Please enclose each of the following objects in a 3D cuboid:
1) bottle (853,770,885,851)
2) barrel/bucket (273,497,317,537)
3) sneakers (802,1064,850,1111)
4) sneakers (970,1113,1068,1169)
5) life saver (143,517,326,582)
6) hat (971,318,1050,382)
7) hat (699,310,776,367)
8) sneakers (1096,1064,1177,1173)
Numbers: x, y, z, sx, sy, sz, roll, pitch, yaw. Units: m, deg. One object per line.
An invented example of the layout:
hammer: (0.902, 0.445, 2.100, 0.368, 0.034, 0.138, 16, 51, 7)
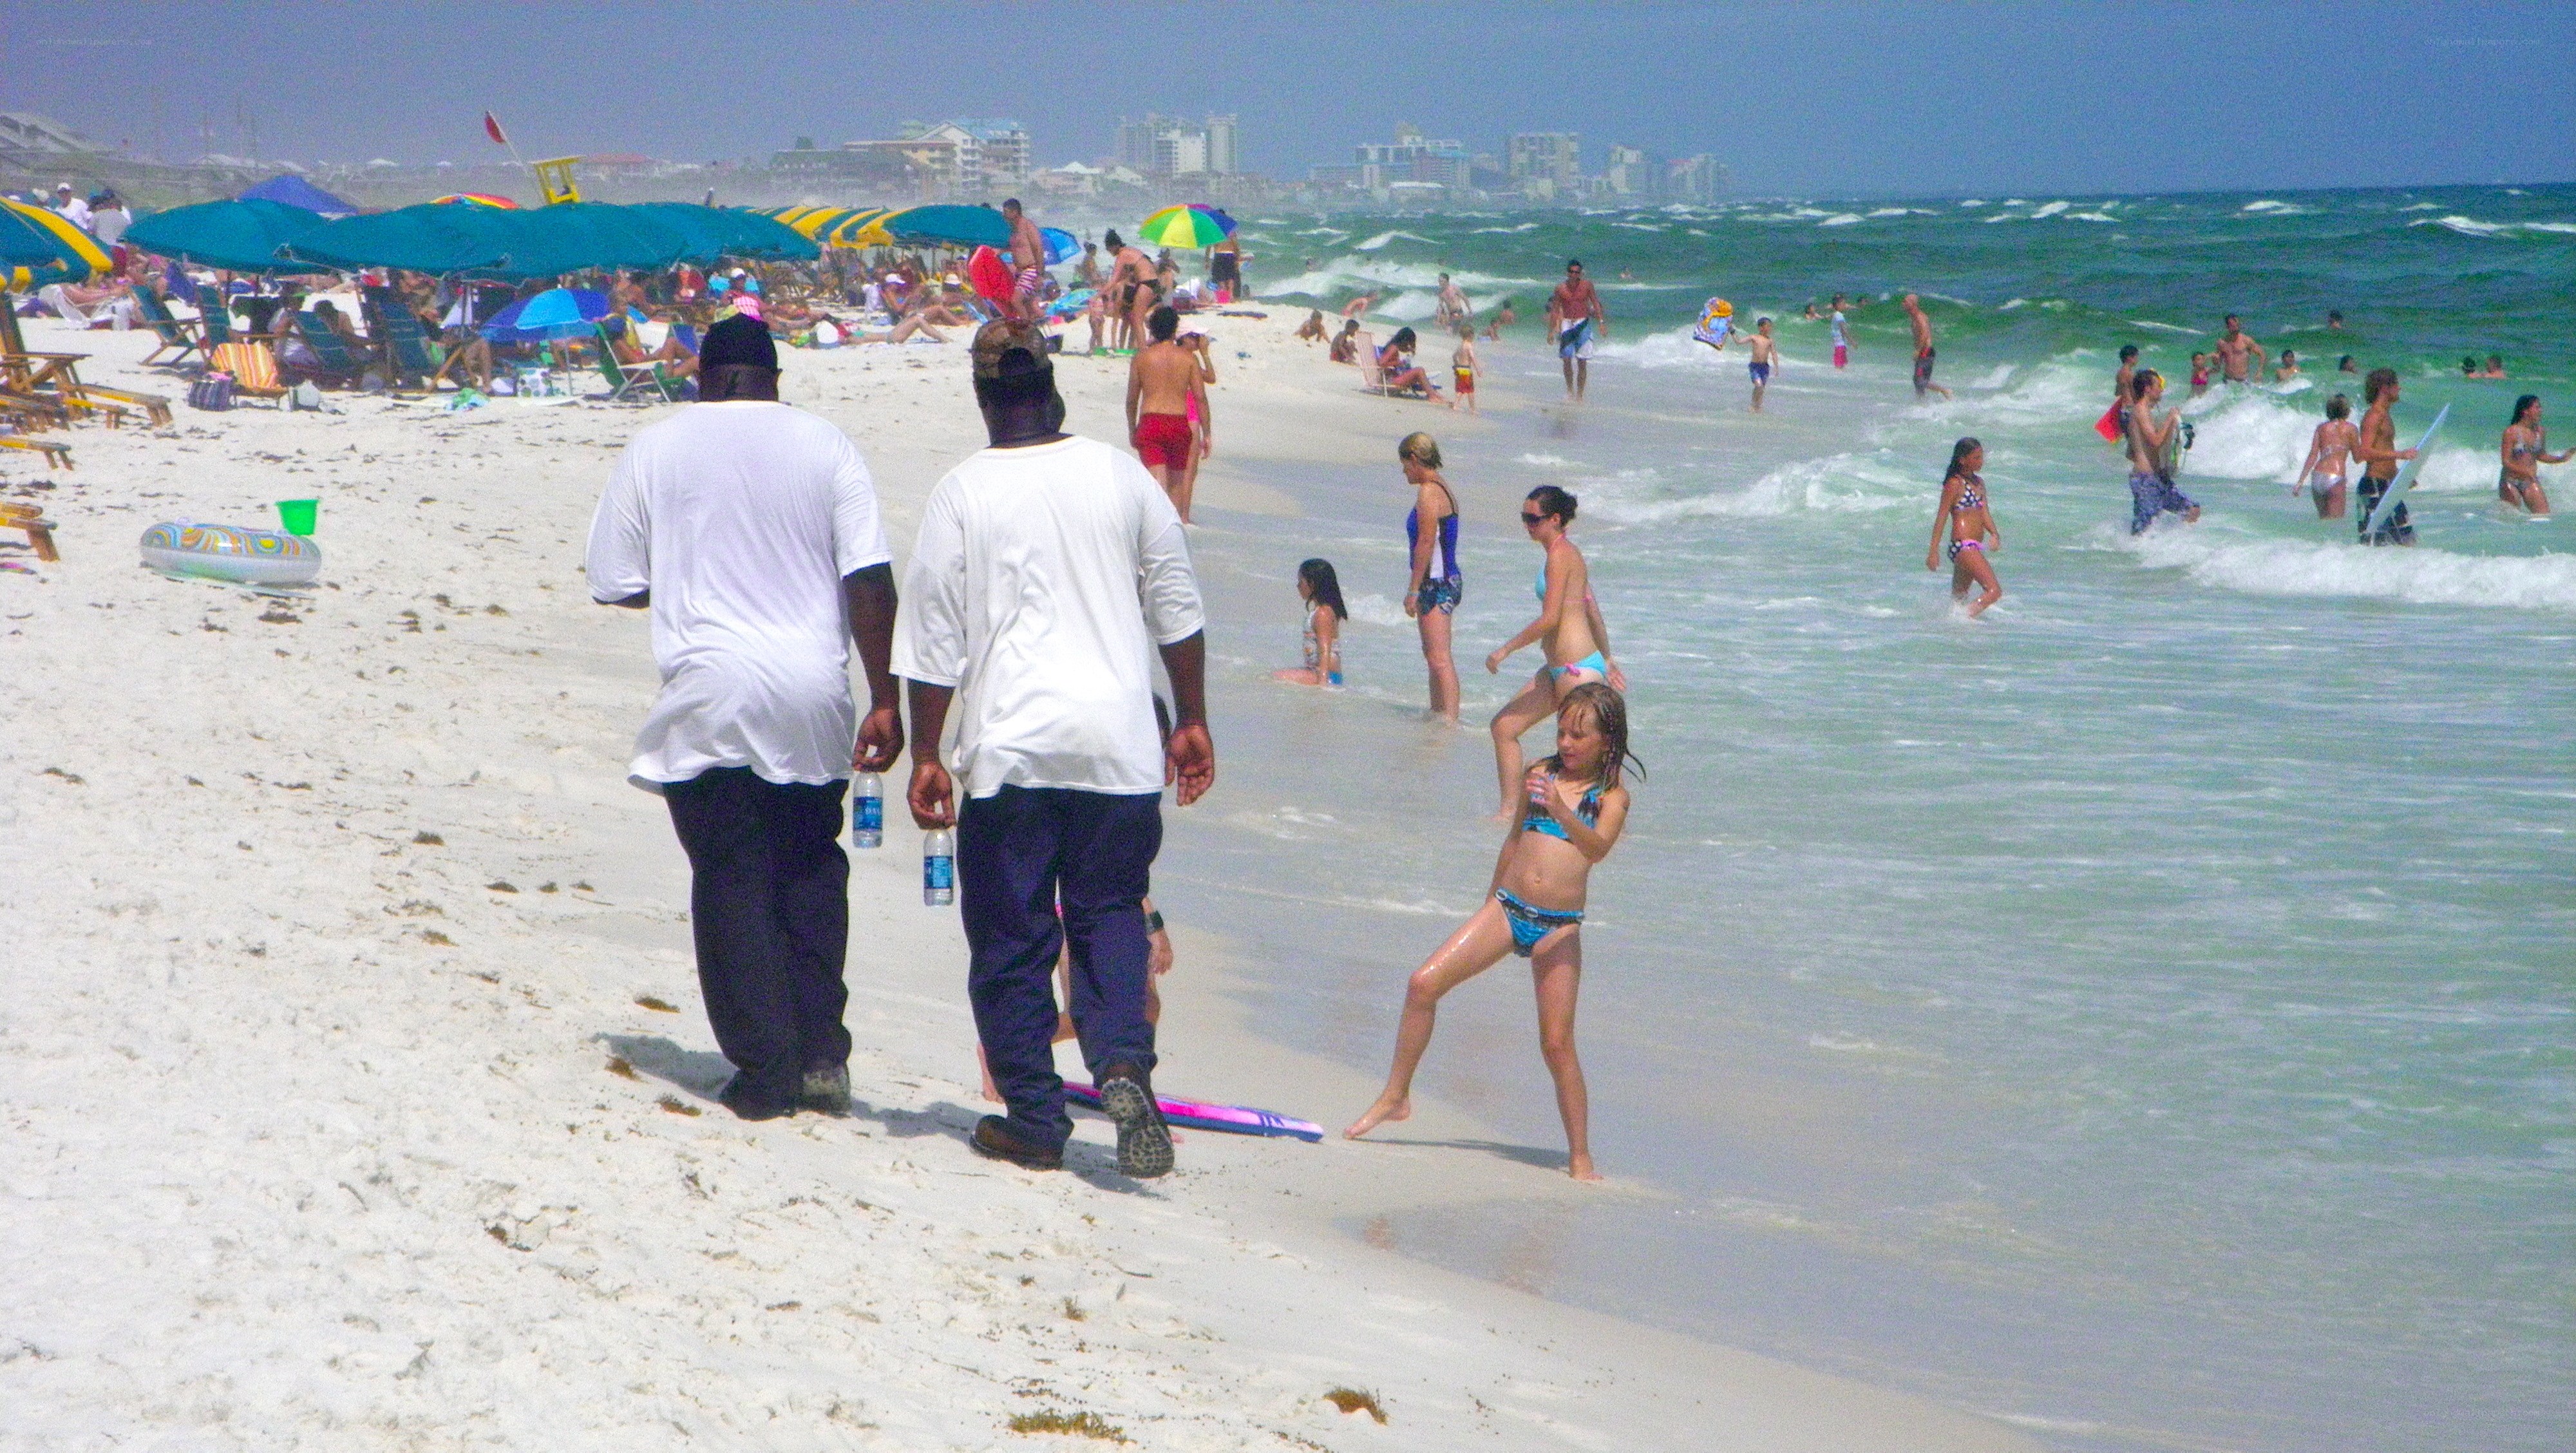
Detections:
bottle: (-2.071, 0.443, 12.167, 0.141, 0.391, 0.273, -6, 17, -14)
barrel/bucket: (-7.424, -1.530, 18.623, 0.464, 0.280, 0.406, -1, 6, -13)
sneakers: (-2.302, 1.802, 12.364, 0.240, 0.204, 0.235, 6, -8, -44)
sneakers: (-1.346, 2.048, 12.339, 0.477, 0.160, 0.220, 15, 14, 20)
life saver: (-7.560, -1.202, 17.733, 1.025, 0.251, 0.538, 5, 23, -11)
hat: (-1.354, -1.789, 12.013, 0.349, 0.281, 0.196, -4, 16, -9)
hat: (-2.679, -1.876, 12.148, 0.320, 0.174, 0.286, 1, 13, -1)
sneakers: (-0.744, 1.935, 12.209, 0.297, 0.543, 0.250, -19, 10, 20)
